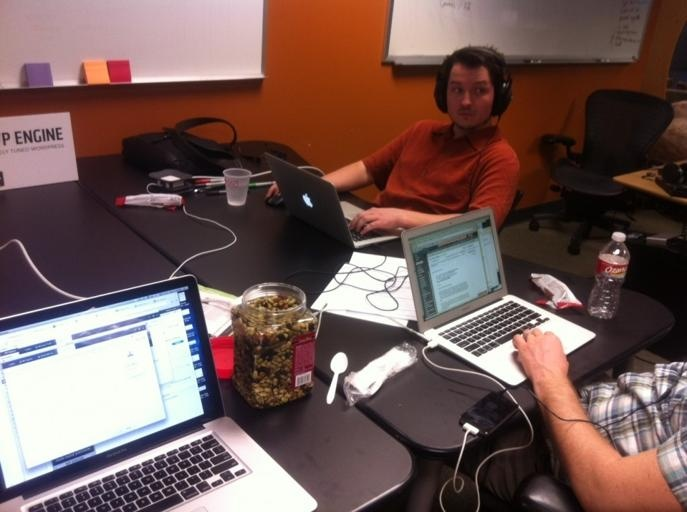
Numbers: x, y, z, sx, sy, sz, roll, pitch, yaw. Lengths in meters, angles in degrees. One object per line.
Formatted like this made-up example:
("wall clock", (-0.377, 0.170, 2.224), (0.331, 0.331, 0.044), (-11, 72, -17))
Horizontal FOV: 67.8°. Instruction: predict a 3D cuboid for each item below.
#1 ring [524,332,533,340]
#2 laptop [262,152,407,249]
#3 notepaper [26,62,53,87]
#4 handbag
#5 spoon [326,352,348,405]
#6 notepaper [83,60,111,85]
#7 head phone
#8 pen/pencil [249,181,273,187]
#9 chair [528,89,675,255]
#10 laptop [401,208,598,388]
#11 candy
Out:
("ring", (0.474, 0.207, 1.320), (0.013, 0.008, 0.023), (-5, 19, 35))
("laptop", (-0.032, -0.215, 1.823), (0.439, 0.251, 0.357), (37, 36, 31))
("notepaper", (-1.263, -0.745, 2.143), (0.106, 0.109, 0.100), (-18, 21, -33))
("handbag", (-0.728, -0.468, 2.257), (0.469, 0.205, 0.298), (19, 26, 28))
("spoon", (-0.017, 0.282, 1.184), (0.028, 0.017, 0.123), (20, 36, -2))
("notepaper", (-1.075, -0.812, 2.270), (0.114, 0.112, 0.111), (-15, 41, -32))
("head phone", (0.561, -0.730, 2.204), (0.358, 0.343, 0.303), (7, 21, 21))
("pen/pencil", (-0.359, -0.308, 2.201), (0.143, 0.027, 0.025), (-6, 27, -35))
("chair", (1.782, -0.603, 3.584), (0.703, 1.039, 0.696), (24, 27, 38))
("laptop", (0.356, 0.108, 1.414), (0.467, 0.323, 0.463), (-19, 36, -36))
("candy", (-0.152, 0.209, 1.093), (0.147, 0.222, 0.149), (-19, 35, -37))
